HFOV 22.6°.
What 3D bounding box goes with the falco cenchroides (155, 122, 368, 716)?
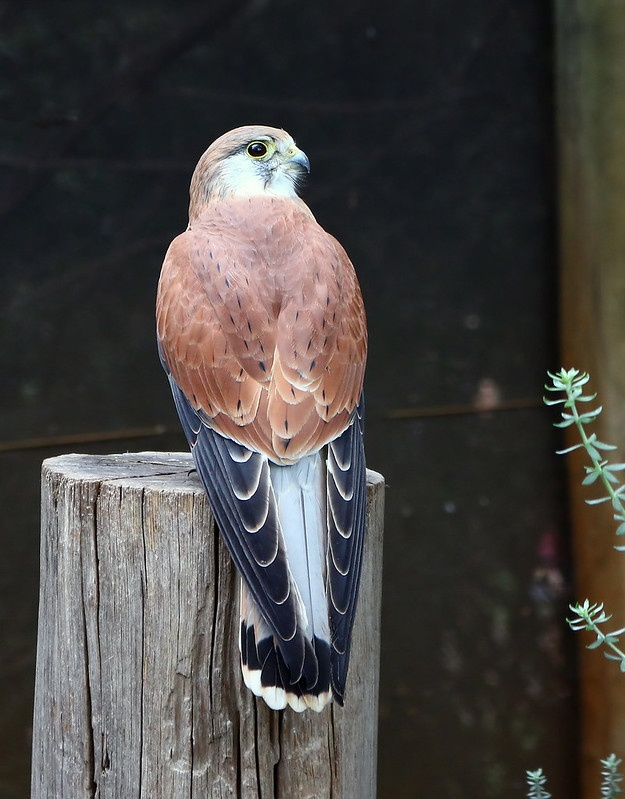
[{"bbox_3d":[-0.141,0.034,4.016,0.393,0.562,1.462,-2,60,-6],"label":"falco cenchroides"}]
